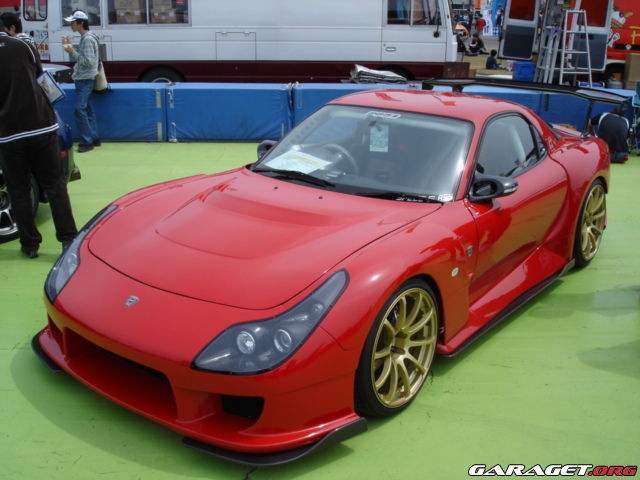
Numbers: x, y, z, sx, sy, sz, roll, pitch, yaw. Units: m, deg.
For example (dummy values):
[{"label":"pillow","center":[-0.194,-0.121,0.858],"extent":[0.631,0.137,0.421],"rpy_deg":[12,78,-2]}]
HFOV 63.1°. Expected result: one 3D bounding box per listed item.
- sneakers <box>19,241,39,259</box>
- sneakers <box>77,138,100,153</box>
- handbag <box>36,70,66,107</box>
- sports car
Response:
[{"label":"sneakers","center":[-2.925,0.106,5.271],"extent":[0.100,0.104,0.230],"rpy_deg":[-6,5,-37]},{"label":"sneakers","center":[-4.312,-1.766,9.745],"extent":[0.193,0.259,0.596],"rpy_deg":[3,6,9]},{"label":"handbag","center":[-2.634,-1.492,5.106],"extent":[0.062,0.261,0.260],"rpy_deg":[-4,35,48]},{"label":"sports car","center":[0.490,-0.065,3.767],"extent":[2.128,1.193,3.819],"rpy_deg":[22,31,40]}]
